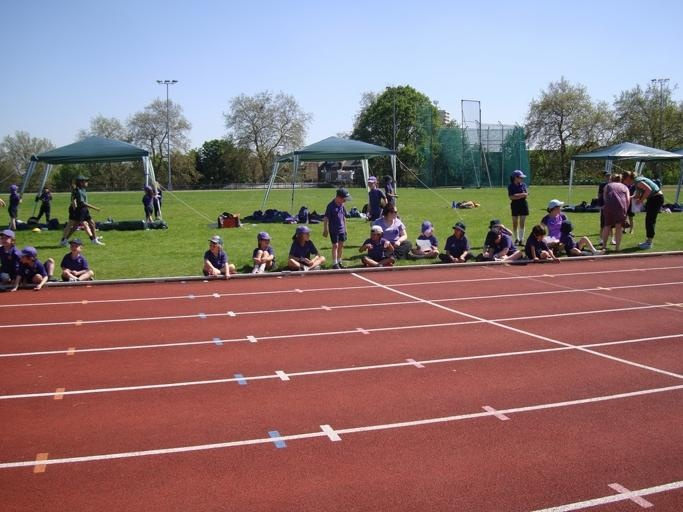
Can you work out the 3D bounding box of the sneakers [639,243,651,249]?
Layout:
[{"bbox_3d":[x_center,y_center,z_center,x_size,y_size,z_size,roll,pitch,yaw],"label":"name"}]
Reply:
[{"bbox_3d":[7.557,-0.231,15.610,0.250,0.171,0.135,3,4,36],"label":"sneakers"}]

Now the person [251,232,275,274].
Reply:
[{"bbox_3d":[-1.692,-0.076,13.505,0.492,0.775,1.206,-2,13,-6],"label":"person"}]

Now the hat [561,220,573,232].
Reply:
[{"bbox_3d":[5.413,-0.684,15.053,0.203,0.261,0.276,7,39,14],"label":"hat"}]

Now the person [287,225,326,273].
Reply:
[{"bbox_3d":[-0.766,-0.148,13.474,0.658,0.929,0.875,8,15,35],"label":"person"}]

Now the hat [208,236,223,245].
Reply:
[{"bbox_3d":[-2.881,-0.343,14.284,0.203,0.171,0.300,20,-1,18],"label":"hat"}]

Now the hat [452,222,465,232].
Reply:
[{"bbox_3d":[2.748,-0.684,14.420,0.309,0.162,0.233,21,-10,-42],"label":"hat"}]

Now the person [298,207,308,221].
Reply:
[{"bbox_3d":[-1.374,-1.447,22.633,0.391,0.447,0.958,-1,13,-4],"label":"person"}]

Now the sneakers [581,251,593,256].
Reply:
[{"bbox_3d":[5.817,-0.052,14.869,0.239,0.106,0.091,-3,7,-1],"label":"sneakers"}]

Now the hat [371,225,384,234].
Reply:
[{"bbox_3d":[0.806,-0.592,14.202,0.153,0.180,0.219,9,14,27],"label":"hat"}]

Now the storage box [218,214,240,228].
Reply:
[{"bbox_3d":[-3.815,-1.141,21.262,0.787,0.356,0.877,-3,13,-11],"label":"storage box"}]

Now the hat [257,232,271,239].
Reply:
[{"bbox_3d":[-1.708,-0.411,13.605,0.283,0.179,0.223,0,4,17],"label":"hat"}]

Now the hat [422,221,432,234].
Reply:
[{"bbox_3d":[2.033,-0.675,15.124,0.228,0.315,0.293,-4,2,-42],"label":"hat"}]

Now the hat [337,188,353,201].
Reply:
[{"bbox_3d":[0.038,-1.319,13.828,0.325,0.199,0.247,-6,38,-31],"label":"hat"}]

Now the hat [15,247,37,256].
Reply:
[{"bbox_3d":[-5.832,-0.068,11.558,0.347,0.215,0.258,6,11,-20],"label":"hat"}]

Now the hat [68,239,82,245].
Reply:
[{"bbox_3d":[-5.784,-0.290,13.599,0.177,0.103,0.266,0,-4,-4],"label":"hat"}]
